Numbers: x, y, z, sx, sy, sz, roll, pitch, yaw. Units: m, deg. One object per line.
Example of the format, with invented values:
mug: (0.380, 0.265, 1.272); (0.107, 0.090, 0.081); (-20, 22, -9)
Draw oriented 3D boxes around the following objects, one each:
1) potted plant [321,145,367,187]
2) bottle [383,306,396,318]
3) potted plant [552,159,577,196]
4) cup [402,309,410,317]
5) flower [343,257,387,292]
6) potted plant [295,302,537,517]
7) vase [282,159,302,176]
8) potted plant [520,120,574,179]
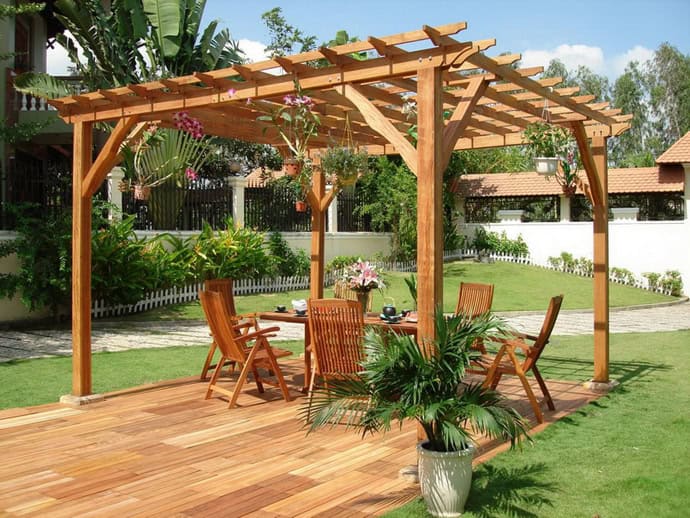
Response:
potted plant: (0.004, -1.198, 7.092); (0.588, 0.479, 0.555); (1, 11, 9)
bottle: (0.518, 0.623, 6.687); (0.140, 0.115, 0.145); (-2, 5, 0)
potted plant: (3.207, -1.154, 7.879); (0.346, 0.420, 0.305); (15, 6, 43)
cup: (0.767, 0.684, 7.070); (0.081, 0.054, 0.079); (-2, -2, 0)
flower: (0.254, 0.204, 7.156); (0.475, 0.306, 0.464); (0, 5, -4)
potted plant: (0.662, 1.115, 4.349); (1.438, 1.405, 1.332); (1, 2, 17)
vase: (-0.671, -1.142, 6.968); (0.242, 0.163, 0.232); (1, 2, 5)
potted plant: (2.744, -1.490, 7.557); (0.508, 0.600, 0.622); (3, 10, 8)
